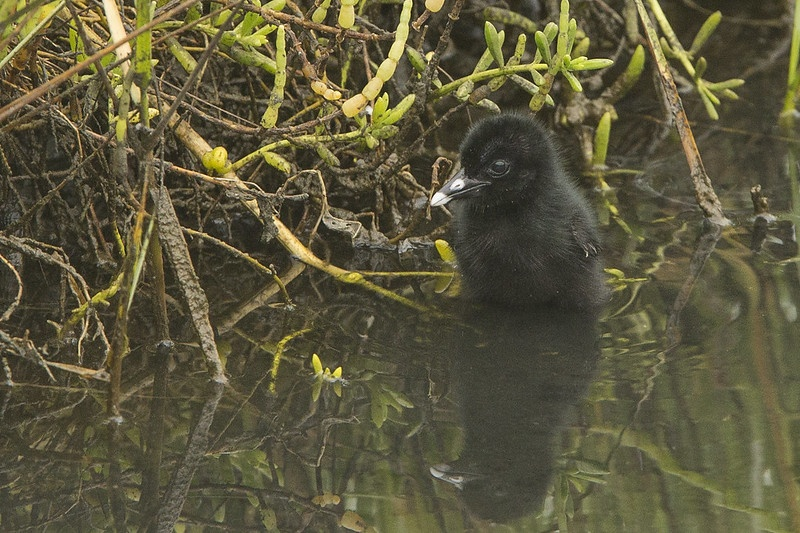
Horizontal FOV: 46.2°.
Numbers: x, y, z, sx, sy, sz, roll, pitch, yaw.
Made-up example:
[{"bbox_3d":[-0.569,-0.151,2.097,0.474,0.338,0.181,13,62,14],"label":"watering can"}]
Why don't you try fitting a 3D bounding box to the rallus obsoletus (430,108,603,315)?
[{"bbox_3d":[0.739,-0.330,5.628,0.973,1.168,0.486,1,-9,11],"label":"rallus obsoletus"}]
